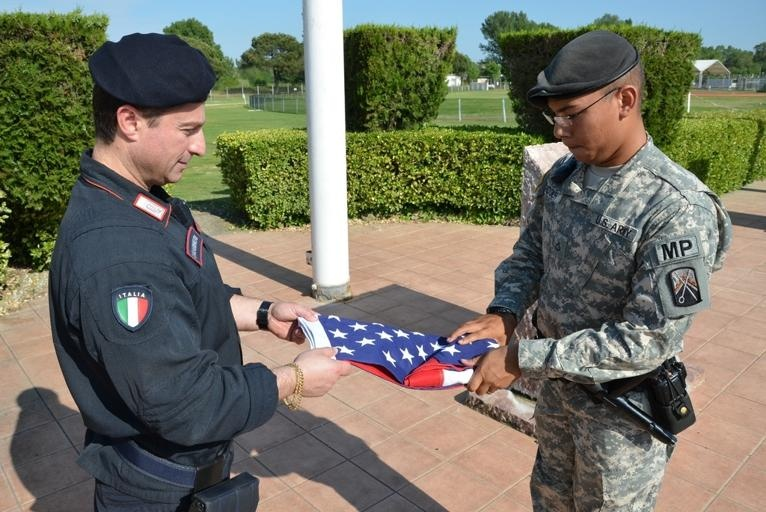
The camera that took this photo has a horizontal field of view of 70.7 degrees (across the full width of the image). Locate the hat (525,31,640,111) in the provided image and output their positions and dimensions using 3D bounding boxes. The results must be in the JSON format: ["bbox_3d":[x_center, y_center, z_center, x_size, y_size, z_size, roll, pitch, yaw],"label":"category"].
[{"bbox_3d":[0.988,-0.979,2.630,0.441,0.166,0.411,-23,24,9],"label":"hat"}]

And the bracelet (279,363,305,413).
[{"bbox_3d":[-0.453,0.645,2.643,0.064,0.197,0.155,2,17,35],"label":"bracelet"}]

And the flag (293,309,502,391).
[{"bbox_3d":[0.034,0.622,3.068,0.883,0.181,0.518,8,25,-16],"label":"flag"}]

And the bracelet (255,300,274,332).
[{"bbox_3d":[-0.678,0.345,3.191,0.104,0.164,0.150,3,8,3],"label":"bracelet"}]
